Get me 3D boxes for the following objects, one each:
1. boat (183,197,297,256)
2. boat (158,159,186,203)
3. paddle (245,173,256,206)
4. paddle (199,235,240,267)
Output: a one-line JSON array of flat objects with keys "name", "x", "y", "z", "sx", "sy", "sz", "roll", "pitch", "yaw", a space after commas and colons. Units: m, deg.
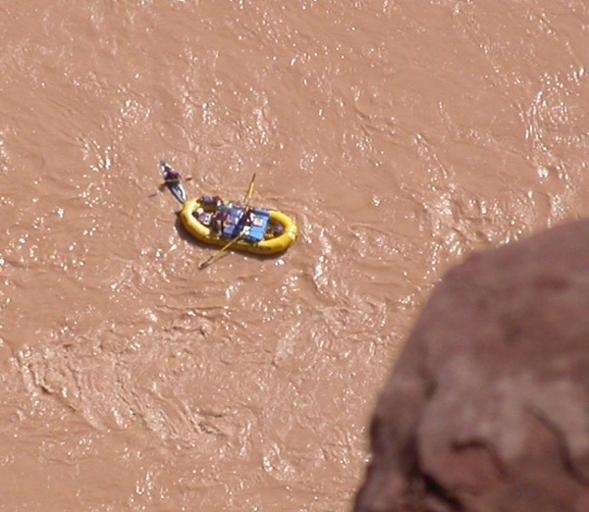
[{"name": "boat", "x": -1.085, "y": -0.546, "z": 23.457, "sx": 1.991, "sy": 0.352, "sz": 1.060, "roll": 13, "pitch": 70, "yaw": 0}, {"name": "boat", "x": -2.441, "y": -1.427, "z": 24.288, "sx": 0.320, "sy": 0.255, "sz": 1.111, "roll": -24, "pitch": 110, "yaw": -4}, {"name": "paddle", "x": -0.868, "y": -1.300, "z": 24.297, "sx": 0.127, "sy": 0.091, "sz": 0.776, "roll": 18, "pitch": 72, "yaw": -2}, {"name": "paddle", "x": -1.441, "y": -0.067, "z": 23.801, "sx": 0.779, "sy": 0.061, "sz": 0.136, "roll": -46, "pitch": 109, "yaw": -5}]
